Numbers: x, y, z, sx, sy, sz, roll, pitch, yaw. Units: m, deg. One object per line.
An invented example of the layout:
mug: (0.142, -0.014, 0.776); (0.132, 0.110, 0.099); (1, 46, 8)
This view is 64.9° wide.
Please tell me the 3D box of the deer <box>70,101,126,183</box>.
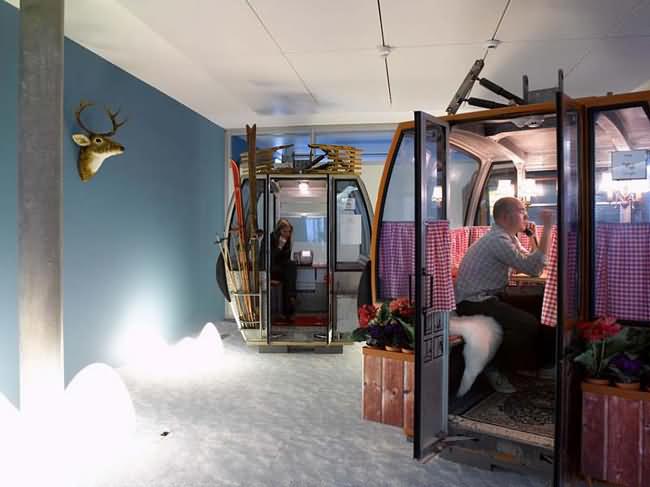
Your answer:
deer: (-2.414, -1.057, 5.352); (0.456, 0.818, 0.682); (-3, 7, -26)

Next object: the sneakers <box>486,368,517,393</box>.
sneakers: (1.557, 1.236, 4.580); (0.191, 0.245, 0.071); (-38, -14, -35)

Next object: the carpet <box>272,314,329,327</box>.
carpet: (-0.353, 1.088, 7.496); (0.766, 0.090, 0.872); (0, 6, 5)

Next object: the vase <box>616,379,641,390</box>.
vase: (2.047, 0.948, 3.437); (0.153, 0.058, 0.051); (0, 6, 3)

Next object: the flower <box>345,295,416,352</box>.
flower: (0.498, 0.686, 4.298); (0.435, 0.296, 0.427); (-5, 3, -36)

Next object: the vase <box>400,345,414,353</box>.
vase: (0.658, 0.863, 4.145); (0.122, 0.044, 0.050); (3, 7, 30)

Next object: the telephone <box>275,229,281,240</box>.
telephone: (-0.671, -0.119, 7.177); (0.070, 0.108, 0.025); (1, -2, 13)

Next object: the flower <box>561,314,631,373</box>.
flower: (1.875, 0.727, 3.581); (0.563, 0.380, 0.180); (-2, 6, -17)

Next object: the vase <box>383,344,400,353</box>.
vase: (0.557, 0.868, 4.213); (0.152, 0.041, 0.057); (3, 7, 26)

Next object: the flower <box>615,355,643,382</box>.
flower: (2.062, 0.846, 3.465); (0.139, 0.116, 0.171); (1, -5, 18)

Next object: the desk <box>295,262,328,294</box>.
desk: (-0.244, 0.559, 7.998); (0.683, 0.703, 0.367); (0, -2, 1)

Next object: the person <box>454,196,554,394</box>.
person: (1.634, 0.439, 4.755); (0.955, 1.719, 1.028); (0, 6, 0)
